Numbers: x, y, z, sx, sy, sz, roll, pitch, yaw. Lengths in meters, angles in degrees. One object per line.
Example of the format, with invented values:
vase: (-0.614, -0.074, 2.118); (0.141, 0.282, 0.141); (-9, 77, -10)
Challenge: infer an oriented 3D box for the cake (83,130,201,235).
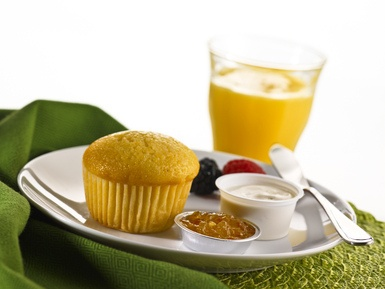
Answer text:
cake: (-0.206, 0.125, 1.482); (0.432, 0.336, 0.473); (11, 13, 22)
